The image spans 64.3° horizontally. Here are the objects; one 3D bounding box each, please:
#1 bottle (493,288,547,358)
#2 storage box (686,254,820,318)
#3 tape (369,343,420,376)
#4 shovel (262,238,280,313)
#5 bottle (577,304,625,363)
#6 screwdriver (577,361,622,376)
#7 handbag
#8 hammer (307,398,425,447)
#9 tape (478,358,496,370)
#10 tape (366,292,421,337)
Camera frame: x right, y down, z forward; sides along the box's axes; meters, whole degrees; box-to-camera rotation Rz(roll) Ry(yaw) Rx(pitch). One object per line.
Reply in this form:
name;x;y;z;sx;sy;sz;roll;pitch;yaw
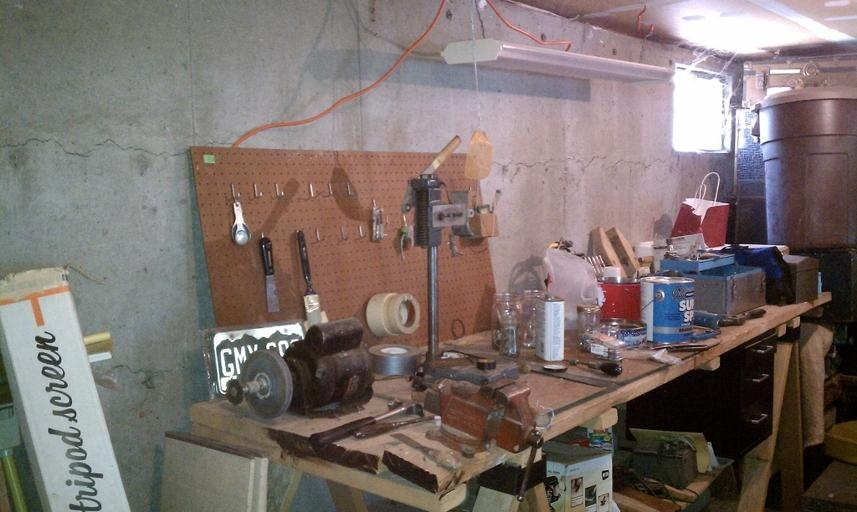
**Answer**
bottle;0.505;0.375;3.893;0.290;0.307;0.493;-4;3;9
storage box;2.163;0.201;4.542;1.161;0.340;0.231;-6;4;-34
tape;-0.185;0.548;3.618;0.281;0.103;0.262;1;9;-18
shovel;-0.824;0.097;3.531;0.042;0.401;0.062;-2;5;34
bottle;0.938;0.413;3.743;0.226;0.261;0.478;-4;3;1
screwdriver;0.847;0.568;3.533;0.273;0.059;0.073;3;37;34
handbag;2.177;-0.384;5.523;0.517;0.684;0.337;3;-4;-12
hammer;-0.274;0.750;3.027;0.517;0.114;0.102;-5;4;-26
tape;0.271;0.517;3.250;0.059;0.029;0.055;0;3;2
tape;-0.182;0.287;3.817;0.251;0.272;0.315;0;2;33
